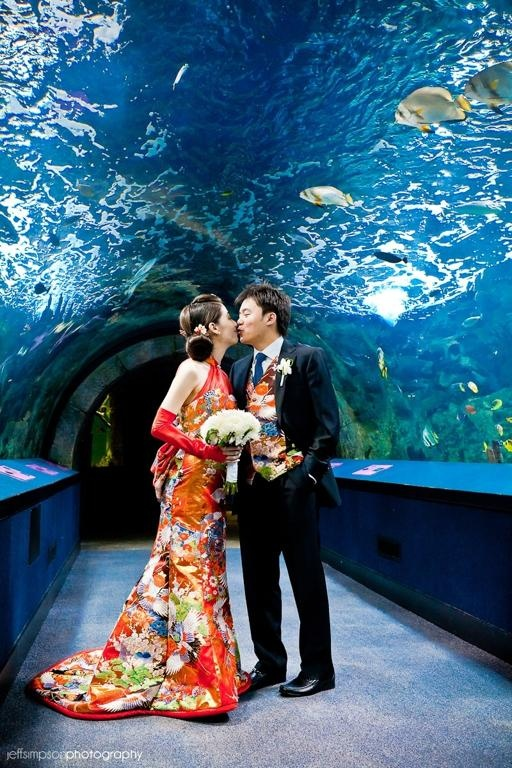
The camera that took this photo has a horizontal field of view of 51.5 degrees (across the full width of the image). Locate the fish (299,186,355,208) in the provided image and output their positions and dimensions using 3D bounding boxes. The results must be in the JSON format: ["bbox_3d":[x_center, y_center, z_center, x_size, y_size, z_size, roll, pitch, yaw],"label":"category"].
[{"bbox_3d":[0.668,-1.777,5.076,0.507,0.135,0.390,0,-10,9],"label":"fish"}]

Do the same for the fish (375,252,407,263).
[{"bbox_3d":[1.443,-1.372,5.719,0.345,0.126,0.144,-1,-11,15],"label":"fish"}]

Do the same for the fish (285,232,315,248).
[{"bbox_3d":[0.490,-1.613,5.924,0.330,0.079,0.163,5,-11,-17],"label":"fish"}]

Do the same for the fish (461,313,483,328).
[{"bbox_3d":[2.316,-0.687,5.702,0.105,0.043,0.254,6,-13,-10],"label":"fish"}]

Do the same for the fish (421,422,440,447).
[{"bbox_3d":[2.209,0.657,6.806,0.116,0.276,0.268,5,-11,-12],"label":"fish"}]

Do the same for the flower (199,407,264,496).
[{"bbox_3d":[-0.147,0.317,2.568,0.263,0.397,0.342,4,-11,-10],"label":"flower"}]

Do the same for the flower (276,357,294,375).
[{"bbox_3d":[0.147,-0.099,2.811,0.078,0.102,0.060,-1,-11,15],"label":"flower"}]

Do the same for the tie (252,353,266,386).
[{"bbox_3d":[0.012,-0.093,2.914,0.053,0.191,0.059,11,-8,11],"label":"tie"}]

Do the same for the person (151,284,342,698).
[{"bbox_3d":[0.128,0.527,2.877,0.625,2.170,0.565,0,-11,9],"label":"person"}]

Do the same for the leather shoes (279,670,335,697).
[{"bbox_3d":[0.256,1.544,2.800,0.319,0.132,0.111,5,-14,-19],"label":"leather shoes"}]

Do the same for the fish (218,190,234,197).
[{"bbox_3d":[-0.293,-1.870,5.206,0.117,0.005,0.133,2,-10,-3],"label":"fish"}]
